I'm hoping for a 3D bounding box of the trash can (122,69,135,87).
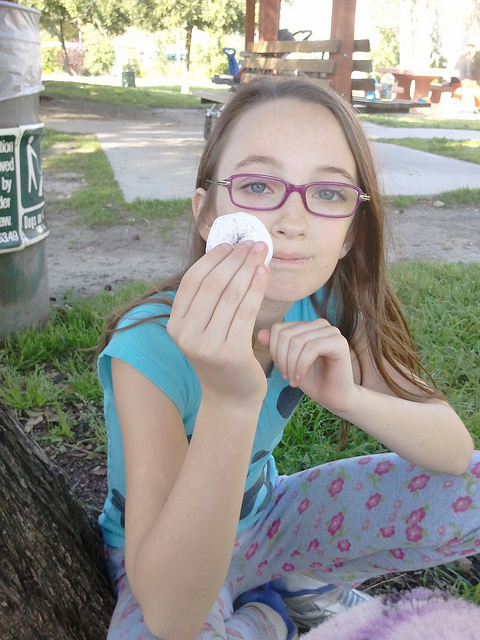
[{"bbox_3d":[-6.214,-13.633,31.018,0.651,0.810,1.020,-1,17,-14],"label":"trash can"}]

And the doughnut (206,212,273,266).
[{"bbox_3d":[0.002,-0.172,1.139,0.138,0.090,0.091,7,17,13],"label":"doughnut"}]

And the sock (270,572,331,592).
[{"bbox_3d":[0.200,0.805,1.712,0.130,0.041,0.093,0,6,-2],"label":"sock"}]
